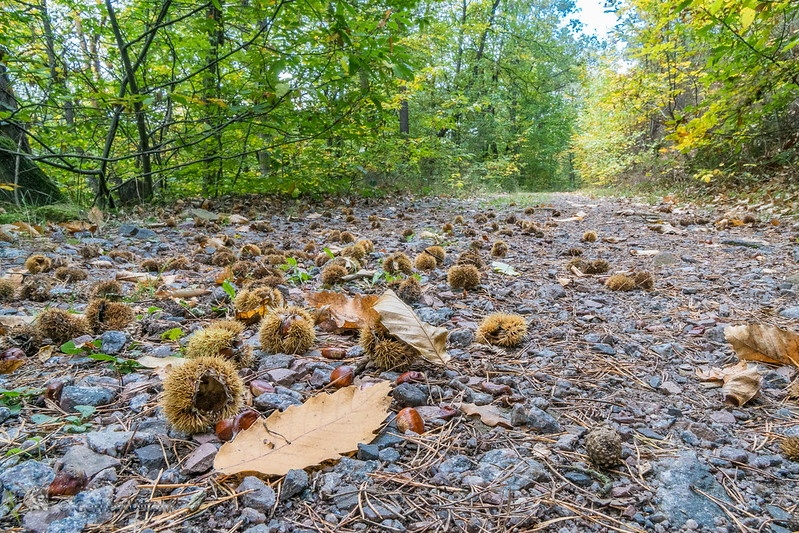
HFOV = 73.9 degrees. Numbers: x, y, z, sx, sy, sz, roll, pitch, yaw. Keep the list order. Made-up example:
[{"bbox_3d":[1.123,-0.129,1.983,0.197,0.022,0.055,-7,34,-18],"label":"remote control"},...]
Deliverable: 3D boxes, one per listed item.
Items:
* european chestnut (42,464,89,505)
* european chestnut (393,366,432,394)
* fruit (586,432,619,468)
[{"bbox_3d":[-2.617,1.712,4.193,0.320,0.100,0.208,-4,39,-26],"label":"european chestnut"},{"bbox_3d":[0.123,1.041,4.832,0.279,0.085,0.204,2,14,-43],"label":"european chestnut"},{"bbox_3d":[1.697,1.518,4.435,0.252,0.273,0.206,-9,16,-23],"label":"fruit"}]
